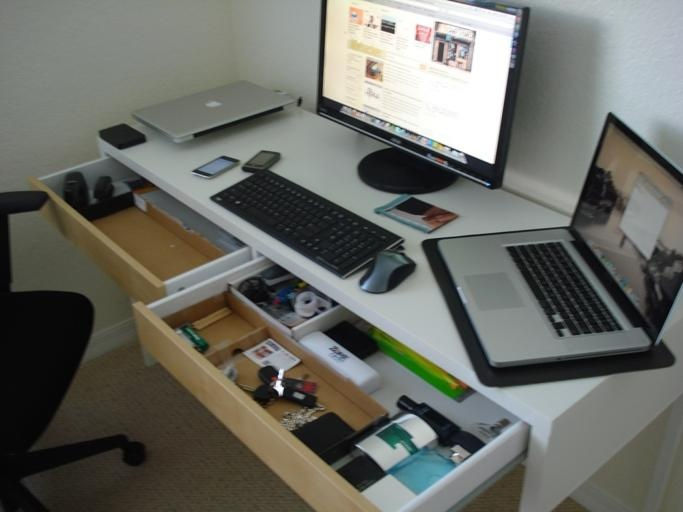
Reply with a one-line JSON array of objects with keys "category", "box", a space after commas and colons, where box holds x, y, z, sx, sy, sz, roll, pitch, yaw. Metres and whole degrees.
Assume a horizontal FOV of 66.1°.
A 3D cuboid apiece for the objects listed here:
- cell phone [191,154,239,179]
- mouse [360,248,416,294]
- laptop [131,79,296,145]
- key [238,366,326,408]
[{"category": "cell phone", "box": [-0.374, -0.272, 1.546, 0.070, 0.015, 0.115, 25, 45, 34]}, {"category": "mouse", "box": [0.104, 0.028, 1.173, 0.074, 0.062, 0.138, 30, 45, 32]}, {"category": "laptop", "box": [-0.450, -0.498, 1.775, 0.426, 0.051, 0.279, -26, 33, -29]}, {"category": "key", "box": [-0.131, 0.305, 1.241, 0.164, 0.035, 0.096, 5, 37, 4]}]
